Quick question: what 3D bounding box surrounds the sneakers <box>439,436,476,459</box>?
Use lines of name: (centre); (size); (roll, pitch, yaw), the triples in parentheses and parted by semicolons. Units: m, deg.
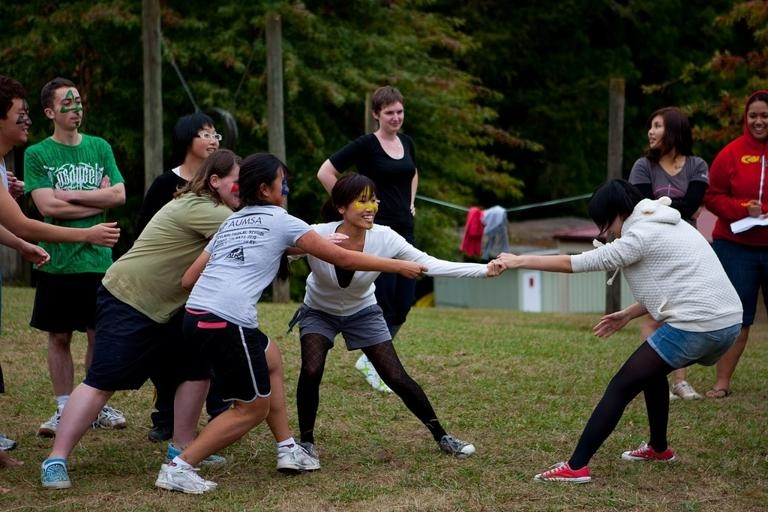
sneakers: (0.708, 1.824, 10.729); (0.334, 0.142, 0.170); (4, 18, 19)

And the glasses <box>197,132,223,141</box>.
glasses: (-1.695, -1.155, 10.935); (0.098, 0.082, 0.304); (4, 5, 31)

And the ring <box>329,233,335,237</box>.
ring: (-0.496, -0.181, 10.441); (0.055, 0.029, 0.028); (-12, -16, 32)

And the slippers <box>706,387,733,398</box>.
slippers: (3.583, 1.476, 11.912); (0.218, 0.073, 0.110); (5, 22, 0)

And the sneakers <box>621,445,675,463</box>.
sneakers: (2.519, 1.879, 10.720); (0.549, 0.199, 0.177); (2, -8, 7)

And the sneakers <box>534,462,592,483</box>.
sneakers: (1.678, 2.020, 10.413); (0.584, 0.195, 0.189); (2, -9, 4)

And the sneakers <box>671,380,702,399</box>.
sneakers: (3.216, 1.442, 11.905); (0.329, 0.134, 0.158); (-1, -3, 2)

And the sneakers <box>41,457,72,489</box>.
sneakers: (-3.014, 1.966, 10.168); (0.280, 0.281, 0.164); (1, 5, -5)
